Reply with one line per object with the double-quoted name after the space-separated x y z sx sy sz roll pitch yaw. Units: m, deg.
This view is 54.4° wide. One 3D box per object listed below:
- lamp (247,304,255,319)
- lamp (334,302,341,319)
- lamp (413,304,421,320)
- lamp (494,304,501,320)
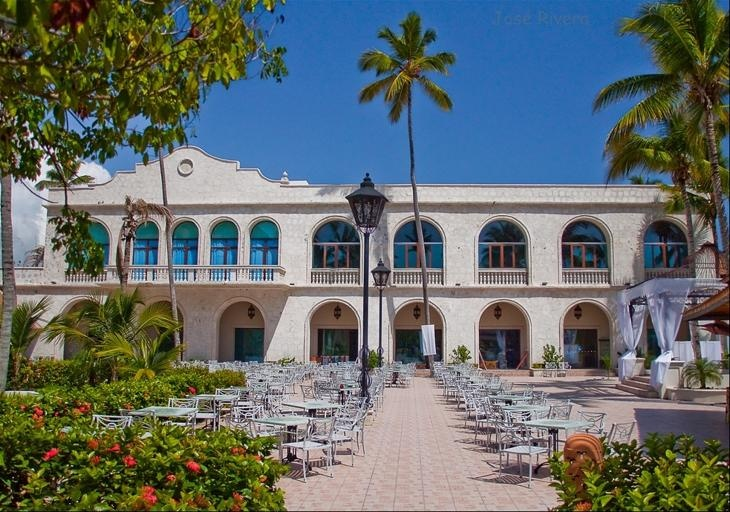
-5.907 2.903 36.621 0.441 0.795 0.650 0 1 -12 "lamp"
-1.432 2.891 36.270 0.391 0.795 0.402 0 1 -11 "lamp"
2.601 2.901 36.230 0.443 0.748 0.235 0 1 5 "lamp"
6.828 2.867 35.991 0.468 0.866 0.497 -1 0 5 "lamp"
